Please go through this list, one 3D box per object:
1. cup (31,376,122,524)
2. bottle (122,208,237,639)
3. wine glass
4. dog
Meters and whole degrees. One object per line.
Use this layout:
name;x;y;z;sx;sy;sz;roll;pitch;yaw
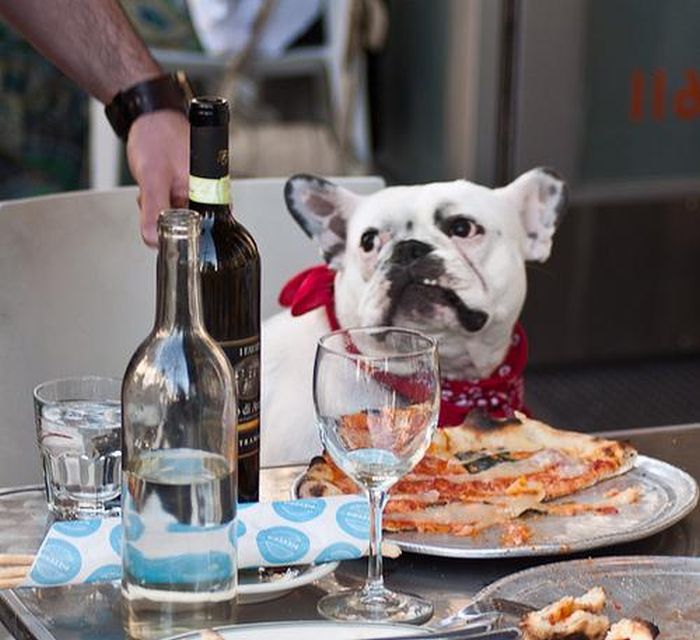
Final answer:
cup;-0.257;0.131;0.874;0.090;0.125;0.101;-1;3;-18
bottle;-0.133;0.079;0.678;0.092;0.318;0.067;-5;9;-10
wine glass;0.021;0.134;0.755;0.103;0.240;0.167;1;10;24
dog;0.116;0.052;1.475;0.386;0.546;0.687;-1;3;4
